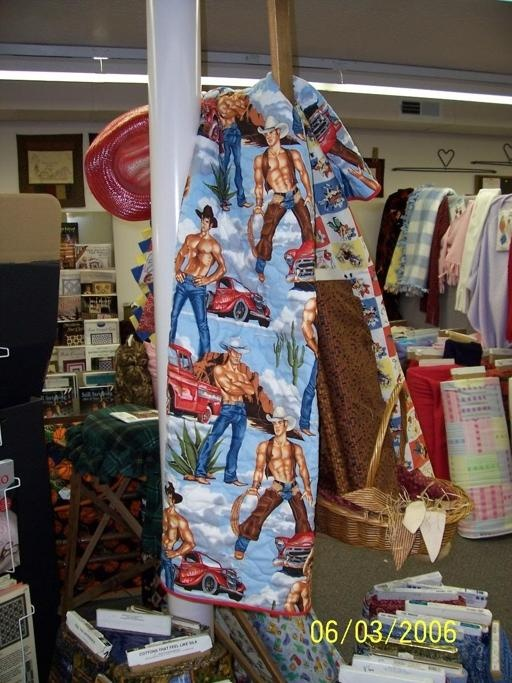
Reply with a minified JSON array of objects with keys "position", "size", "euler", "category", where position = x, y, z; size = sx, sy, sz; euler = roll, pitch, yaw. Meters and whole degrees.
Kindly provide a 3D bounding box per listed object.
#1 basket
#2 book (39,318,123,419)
[{"position":[0.257,0.227,1.081],"size":[0.266,0.304,0.340],"euler":[1,2,21],"category":"basket"},{"position":[-1.324,0.254,4.247],"size":[0.661,0.860,0.264],"euler":[-4,2,-42],"category":"book"}]
